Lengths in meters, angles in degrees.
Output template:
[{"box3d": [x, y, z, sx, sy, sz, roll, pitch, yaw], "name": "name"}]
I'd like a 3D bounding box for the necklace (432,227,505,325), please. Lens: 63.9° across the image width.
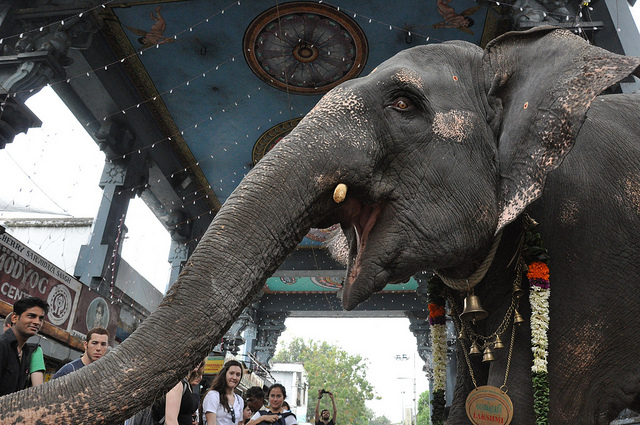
[{"box3d": [0.797, 0.317, 2.767, 0.526, 0.549, 0.152, 7, -26, -23], "name": "necklace"}]
